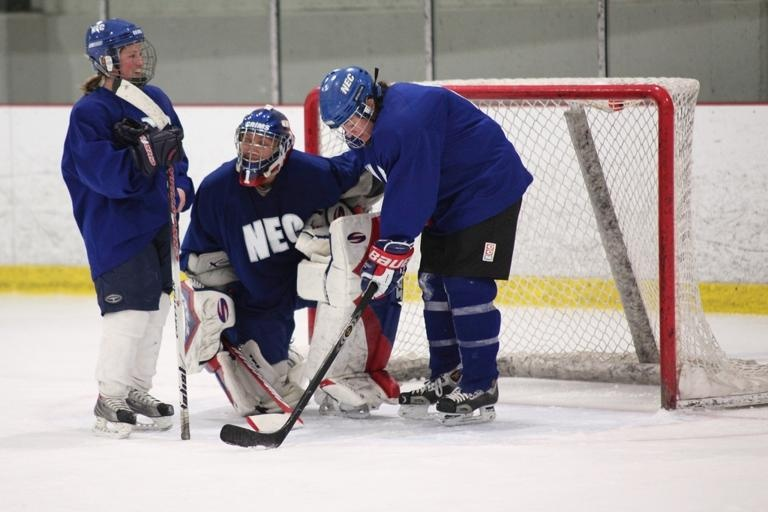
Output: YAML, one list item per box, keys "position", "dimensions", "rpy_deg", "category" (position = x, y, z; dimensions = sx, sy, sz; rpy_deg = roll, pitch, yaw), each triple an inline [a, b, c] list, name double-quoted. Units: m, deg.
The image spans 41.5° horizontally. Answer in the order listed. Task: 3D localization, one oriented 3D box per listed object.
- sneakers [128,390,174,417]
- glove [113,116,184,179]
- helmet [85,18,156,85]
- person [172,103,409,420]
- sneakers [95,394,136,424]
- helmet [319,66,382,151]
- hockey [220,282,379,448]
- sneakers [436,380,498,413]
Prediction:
- position: [-1.208, 0.745, 5.203]
  dimensions: [0.312, 0.117, 0.095]
  rpy_deg: [3, 13, 31]
  category: "sneakers"
- position: [-1.145, -0.545, 4.957]
  dimensions: [0.257, 0.172, 0.349]
  rpy_deg: [23, 16, -22]
  category: "glove"
- position: [-1.338, -1.029, 5.075]
  dimensions: [0.395, 0.354, 0.298]
  rpy_deg: [-3, 16, 5]
  category: "helmet"
- position: [-0.467, 0.077, 5.301]
  dimensions: [1.402, 1.563, 1.063]
  rpy_deg: [-10, 22, -22]
  category: "person"
- position: [-1.337, 0.771, 5.041]
  dimensions: [0.093, 0.104, 0.274]
  rpy_deg: [6, -6, -43]
  category: "sneakers"
- position: [-0.162, -0.793, 5.061]
  dimensions: [0.304, 0.287, 0.149]
  rpy_deg: [-1, 14, -1]
  category: "helmet"
- position: [-0.430, 0.574, 5.255]
  dimensions: [0.219, 0.119, 1.066]
  rpy_deg: [33, 50, 12]
  category: "hockey"
- position: [0.429, 0.743, 5.229]
  dimensions: [0.361, 0.151, 0.126]
  rpy_deg: [1, -7, -17]
  category: "sneakers"
